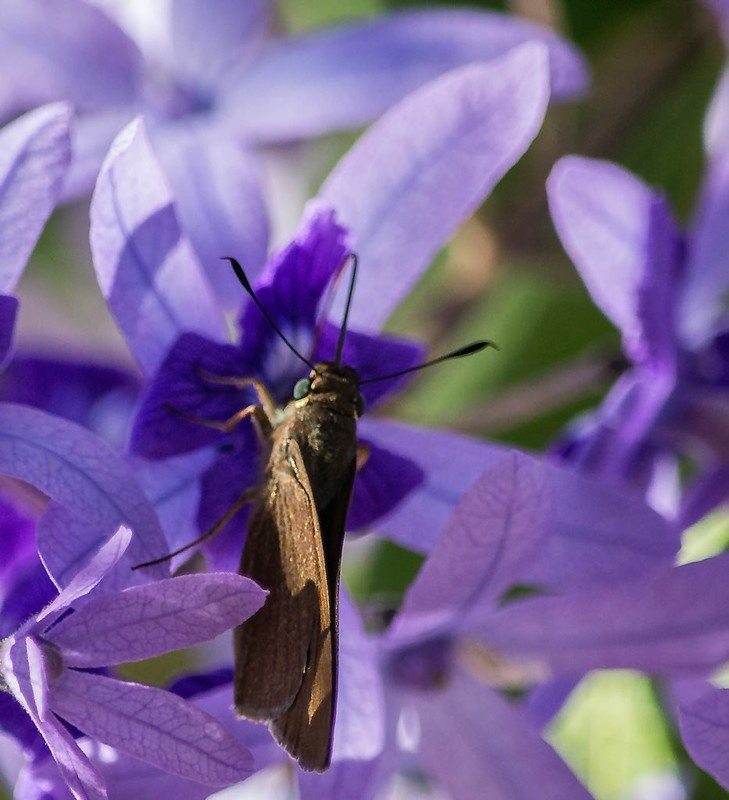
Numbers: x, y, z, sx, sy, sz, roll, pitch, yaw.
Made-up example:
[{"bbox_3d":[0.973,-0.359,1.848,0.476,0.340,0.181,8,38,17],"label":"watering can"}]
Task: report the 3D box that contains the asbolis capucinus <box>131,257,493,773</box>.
[{"bbox_3d":[-0.039,0.086,0.765,0.128,0.374,0.152,-8,-21,45],"label":"asbolis capucinus"}]
